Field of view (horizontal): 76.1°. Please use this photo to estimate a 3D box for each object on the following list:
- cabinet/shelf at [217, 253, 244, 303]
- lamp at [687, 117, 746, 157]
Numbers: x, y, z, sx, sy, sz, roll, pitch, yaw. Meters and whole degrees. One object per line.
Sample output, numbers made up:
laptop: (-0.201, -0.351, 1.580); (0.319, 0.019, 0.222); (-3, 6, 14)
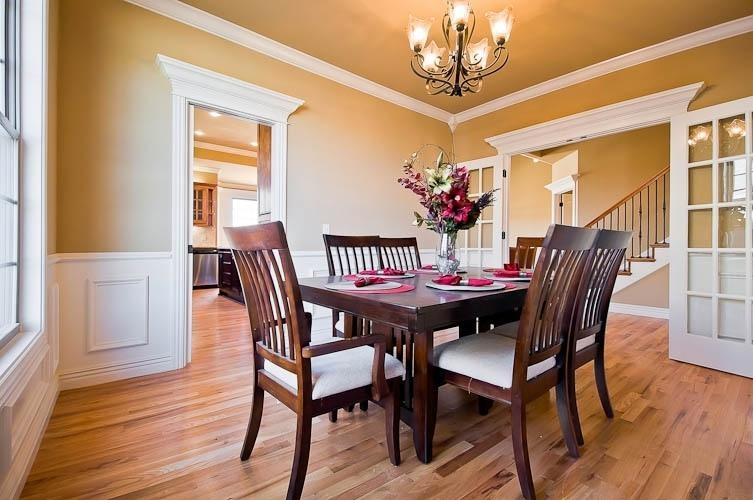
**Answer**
cabinet/shelf: (-2.032, 0.426, 6.710); (0.282, 0.656, 0.747); (0, 0, -33)
lamp: (3.193, -1.045, 4.545); (0.443, 0.393, 0.125); (1, 5, 28)
